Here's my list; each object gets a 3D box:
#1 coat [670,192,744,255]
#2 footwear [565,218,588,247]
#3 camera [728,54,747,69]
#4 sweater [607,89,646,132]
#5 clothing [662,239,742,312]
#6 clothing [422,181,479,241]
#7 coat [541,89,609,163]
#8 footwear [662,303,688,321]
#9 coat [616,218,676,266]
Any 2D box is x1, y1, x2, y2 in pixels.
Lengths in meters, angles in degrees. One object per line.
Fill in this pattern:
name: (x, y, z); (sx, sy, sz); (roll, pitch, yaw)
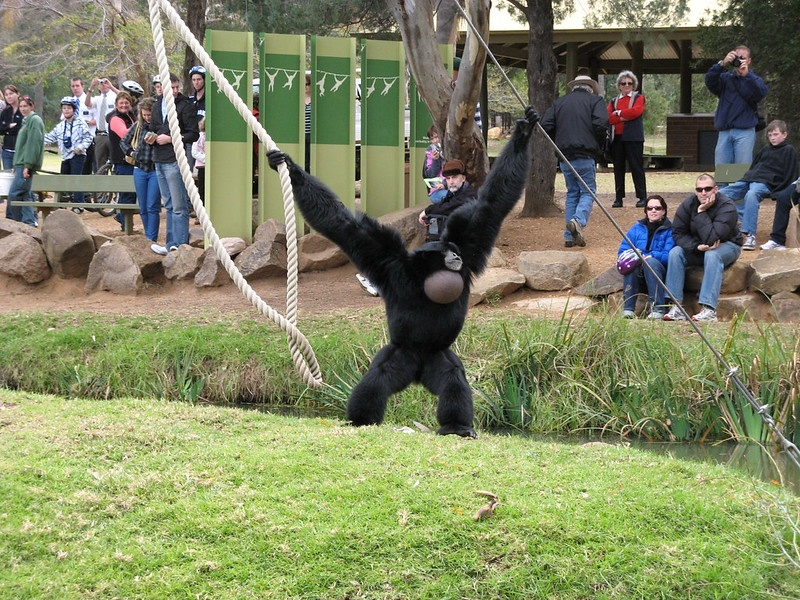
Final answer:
coat: (3.799, -0.956, 11.950); (0.790, 0.764, 0.988); (5, 12, 27)
footwear: (2.592, -0.976, 14.263); (0.197, 0.486, 0.222); (-10, 27, 35)
camera: (4.789, -3.381, 13.646); (0.150, 0.168, 0.094); (1, 37, 0)
sweater: (3.685, -3.038, 15.760); (0.642, 0.800, 0.456); (6, 6, 39)
clothing: (3.688, -0.254, 11.762); (0.983, 0.922, 0.653); (0, 3, -2)
clothing: (0.593, -0.903, 11.389); (0.677, 1.157, 0.940); (1, 8, 2)
coat: (2.621, -2.547, 14.383); (1.054, 1.074, 0.622); (1, -7, 28)
footwear: (3.270, 0.150, 11.492); (0.225, 0.170, 0.401); (1, 4, 18)
coat: (3.136, -0.690, 12.115); (0.660, 0.647, 0.953); (11, 9, 11)
